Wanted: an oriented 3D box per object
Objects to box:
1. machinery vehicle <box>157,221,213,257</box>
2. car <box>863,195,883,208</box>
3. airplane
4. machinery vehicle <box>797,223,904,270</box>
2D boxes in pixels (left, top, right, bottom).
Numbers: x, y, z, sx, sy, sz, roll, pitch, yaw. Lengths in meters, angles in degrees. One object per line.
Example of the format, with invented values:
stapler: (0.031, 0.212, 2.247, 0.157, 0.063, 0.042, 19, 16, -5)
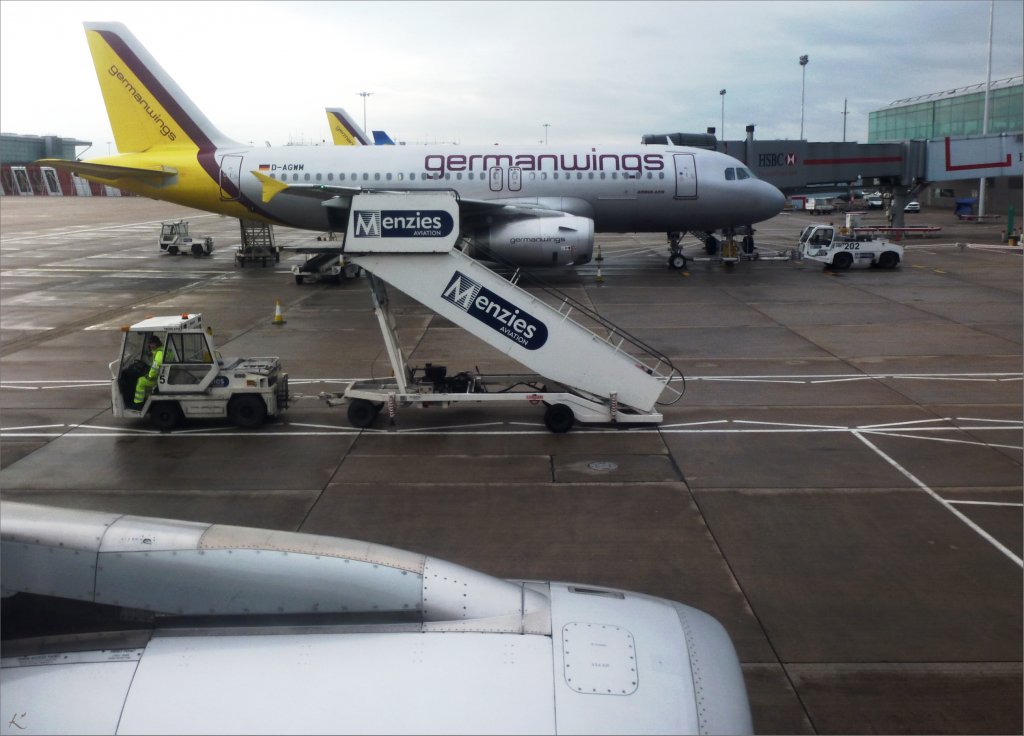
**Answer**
machinery vehicle: (-22.887, -8.764, 62.299, 4.348, 2.228, 2.737, 0, 12, 0)
car: (48.178, -22.082, 119.867, 2.631, 1.431, 4.942, -1, 7, 6)
airplane: (-4.587, -9.861, 46.754, 26.104, 7.427, 22.165, -1, 17, -1)
machinery vehicle: (19.469, -6.872, 51.977, 5.242, 1.821, 2.813, 1, 5, 4)
